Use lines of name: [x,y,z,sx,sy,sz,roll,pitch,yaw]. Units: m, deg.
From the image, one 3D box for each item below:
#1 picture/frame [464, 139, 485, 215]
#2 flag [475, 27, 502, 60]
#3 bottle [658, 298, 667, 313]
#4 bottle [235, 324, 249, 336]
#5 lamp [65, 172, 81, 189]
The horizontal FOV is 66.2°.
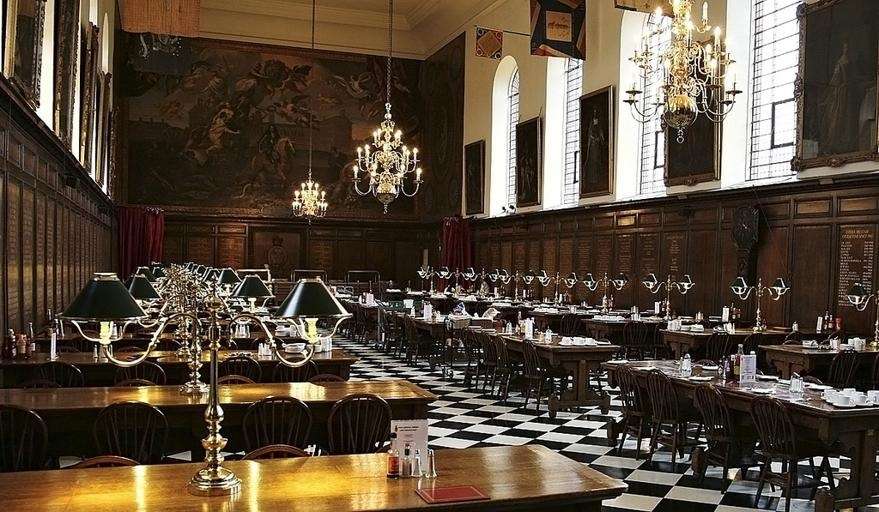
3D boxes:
picture/frame: [1.293,-2.803,24.500,0.519,2.712,1.563,-7,11,-22]
flag: [1.320,-5.902,18.651,0.840,0.771,0.421,-9,12,-33]
bottle: [5.456,1.236,16.525,0.341,0.323,0.109,3,-6,16]
bottle: [-3.686,1.376,12.520,0.227,0.215,0.225,4,-6,-39]
lamp: [-7.001,-1.446,12.860,0.231,0.290,0.417,4,-3,-10]
